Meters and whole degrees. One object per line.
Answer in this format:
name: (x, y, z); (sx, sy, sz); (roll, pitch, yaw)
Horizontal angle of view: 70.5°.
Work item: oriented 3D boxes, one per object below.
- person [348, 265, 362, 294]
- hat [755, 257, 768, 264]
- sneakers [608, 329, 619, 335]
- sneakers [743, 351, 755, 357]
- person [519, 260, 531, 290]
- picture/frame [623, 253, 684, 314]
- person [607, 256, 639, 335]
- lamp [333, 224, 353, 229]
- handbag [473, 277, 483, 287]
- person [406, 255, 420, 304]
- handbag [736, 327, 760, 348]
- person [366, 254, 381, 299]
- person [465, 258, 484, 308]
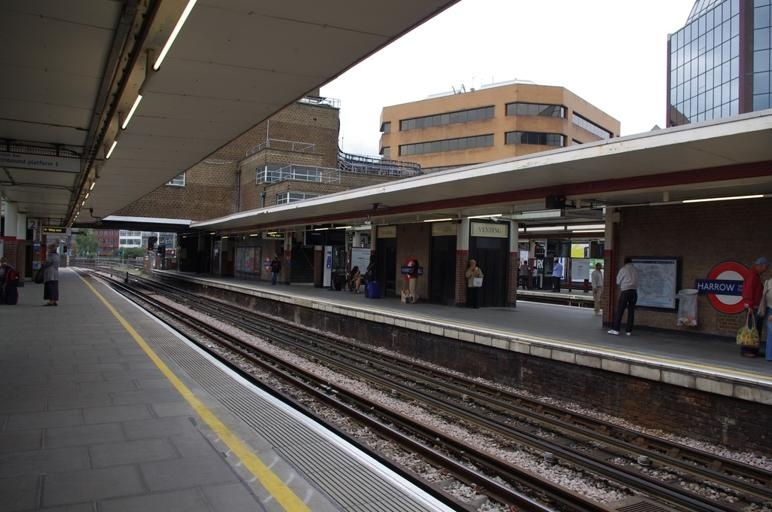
person: (-1.526, 1.150, 25.930); (0.524, 1.157, 1.425); (1, 1, -5)
hat: (7.908, 0.118, 11.559); (0.260, 0.106, 0.197); (-3, 6, -30)
sneakers: (5.731, 1.957, 13.936); (0.098, 0.116, 0.267); (-3, 5, -22)
sneakers: (7.421, 2.033, 11.265); (0.093, 0.074, 0.170); (3, -9, -31)
person: (8.117, 1.144, 32.413); (0.699, 1.584, 1.112); (1, 1, 27)
picture/frame: (6.750, 0.711, 13.831); (0.150, 1.493, 1.422); (-2, 4, -39)
person: (5.901, 1.041, 13.701); (0.565, 1.912, 0.886); (1, 1, 22)
lamp: (-2.164, -1.405, 26.902); (0.501, 0.165, 1.589); (1, 1, -22)
handbag: (3.104, 0.936, 18.930); (0.278, 0.327, 0.288); (1, 1, 2)
person: (0.984, 0.913, 20.867); (0.479, 1.719, 0.843); (1, 1, 10)
handbag: (7.436, 1.700, 11.314); (0.357, 0.416, 0.288); (2, 1, 34)
person: (-0.774, 0.916, 23.063); (0.723, 1.841, 0.761); (2, -4, -17)
person: (3.018, 1.015, 19.262); (0.573, 1.678, 0.932); (1, 1, 7)
